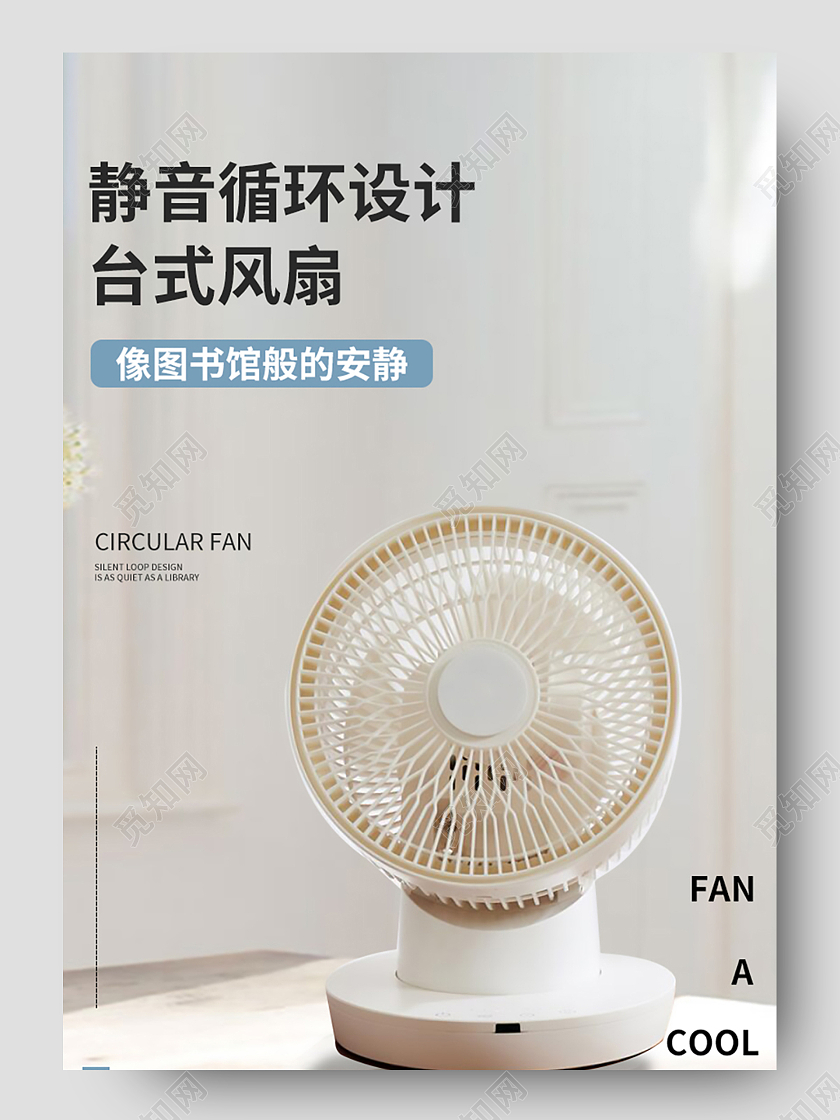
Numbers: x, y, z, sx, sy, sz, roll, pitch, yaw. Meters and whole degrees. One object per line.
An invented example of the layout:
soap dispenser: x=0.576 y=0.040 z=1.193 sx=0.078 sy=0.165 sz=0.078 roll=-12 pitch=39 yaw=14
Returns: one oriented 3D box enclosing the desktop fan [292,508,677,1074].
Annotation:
desktop fan: x=0.095 y=0.316 z=1.719 sx=0.515 sy=0.682 sz=0.409 roll=-6 pitch=-25 yaw=5
